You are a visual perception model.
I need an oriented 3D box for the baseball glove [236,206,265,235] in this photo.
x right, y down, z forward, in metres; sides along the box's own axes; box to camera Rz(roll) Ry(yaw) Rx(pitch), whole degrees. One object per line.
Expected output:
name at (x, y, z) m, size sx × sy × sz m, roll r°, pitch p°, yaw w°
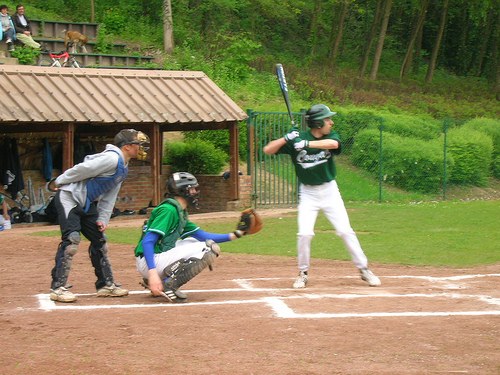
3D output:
baseball glove at (-0.080, 0.674, 17.388) m, size 0.626 × 0.381 × 0.374 m, roll -12°, pitch 11°, yaw -20°

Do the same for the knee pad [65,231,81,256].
knee pad at (-3.230, 1.035, 16.895) m, size 0.229 × 0.379 × 0.371 m, roll 16°, pitch 4°, yaw 14°
